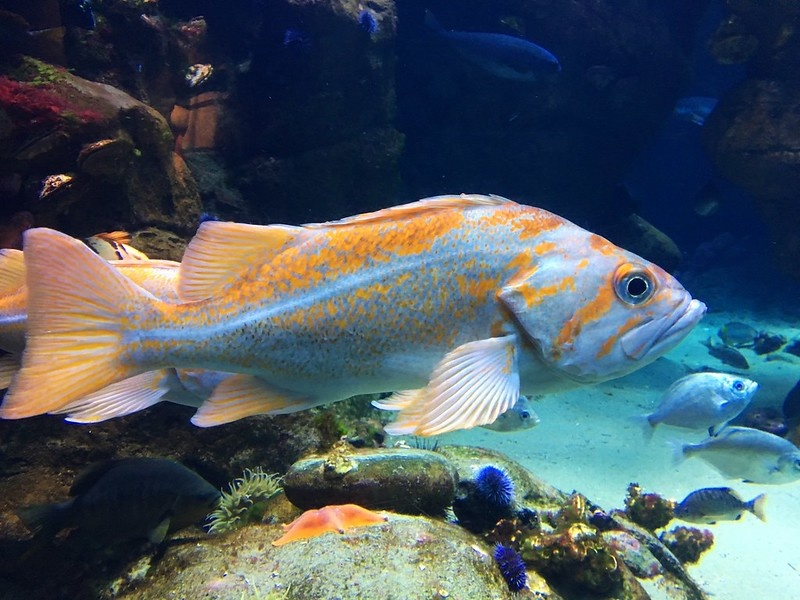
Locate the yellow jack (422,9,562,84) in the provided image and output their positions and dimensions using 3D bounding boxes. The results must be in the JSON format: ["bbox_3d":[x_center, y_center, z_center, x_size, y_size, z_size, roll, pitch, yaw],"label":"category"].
[{"bbox_3d":[1.537,-4.005,12.099,3.003,0.787,0.661,21,36,25],"label":"yellow jack"}]
